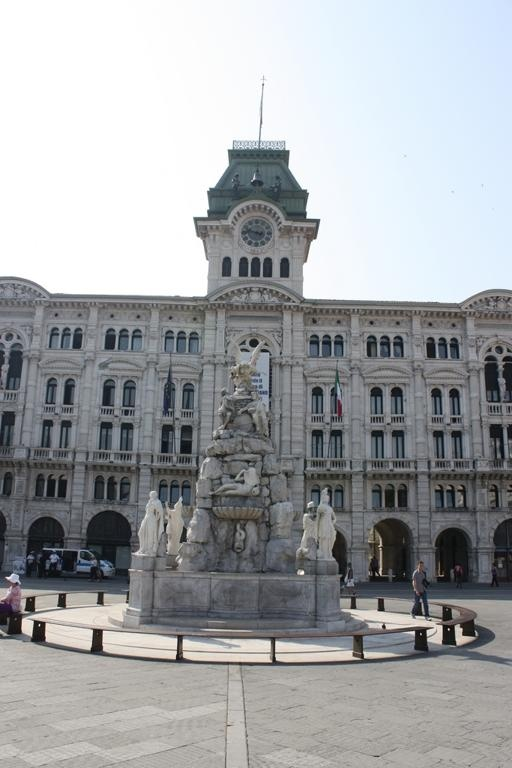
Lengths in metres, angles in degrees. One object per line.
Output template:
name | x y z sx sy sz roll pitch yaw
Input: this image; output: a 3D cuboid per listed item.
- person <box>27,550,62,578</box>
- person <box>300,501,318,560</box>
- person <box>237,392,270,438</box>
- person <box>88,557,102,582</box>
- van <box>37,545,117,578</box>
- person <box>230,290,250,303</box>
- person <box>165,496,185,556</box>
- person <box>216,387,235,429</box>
person | -13.051 11.214 40.309 1.114 1.111 1.662 -14 -22 28
person | 1.426 4.167 17.758 0.510 1.244 0.653 2 -15 -3
person | -0.039 1.068 21.098 0.751 1.502 0.859 -3 -15 14
person | -9.757 11.352 39.670 0.635 1.252 2.026 5 -16 -15
van | -11.534 11.336 41.577 4.455 1.887 2.177 -1 -19 -1
person | -1.038 -6.525 47.861 1.668 1.150 0.455 2 -15 -2
person | -2.508 4.455 20.150 0.549 1.721 1.428 3 -15 -6
person | -0.916 0.906 20.951 0.484 1.173 0.407 2 -15 -3
